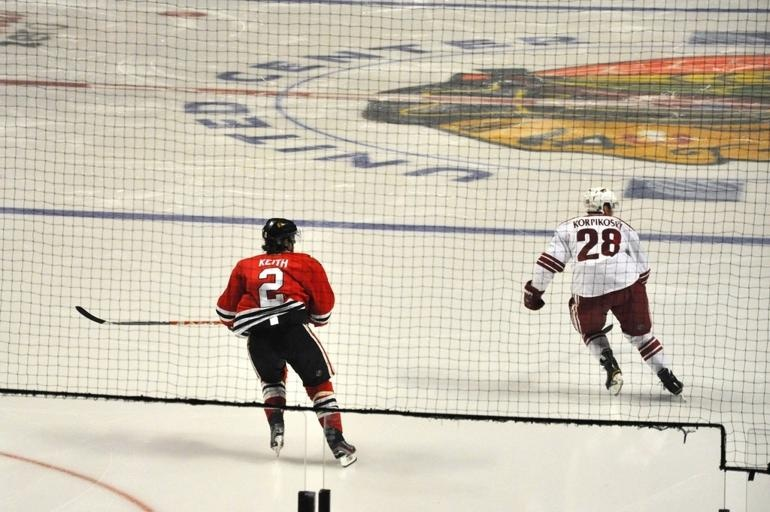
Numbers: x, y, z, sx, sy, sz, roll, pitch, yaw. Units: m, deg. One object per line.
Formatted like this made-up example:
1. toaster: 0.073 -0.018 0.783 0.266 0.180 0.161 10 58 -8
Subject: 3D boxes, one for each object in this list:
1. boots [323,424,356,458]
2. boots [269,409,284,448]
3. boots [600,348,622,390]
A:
1. boots: -0.353 1.466 12.415 0.162 0.304 0.472 -12 -9 11
2. boots: -0.832 1.322 12.267 0.117 0.289 0.140 -5 8 -11
3. boots: 1.851 0.899 13.080 0.117 0.221 0.250 -4 -23 -35
